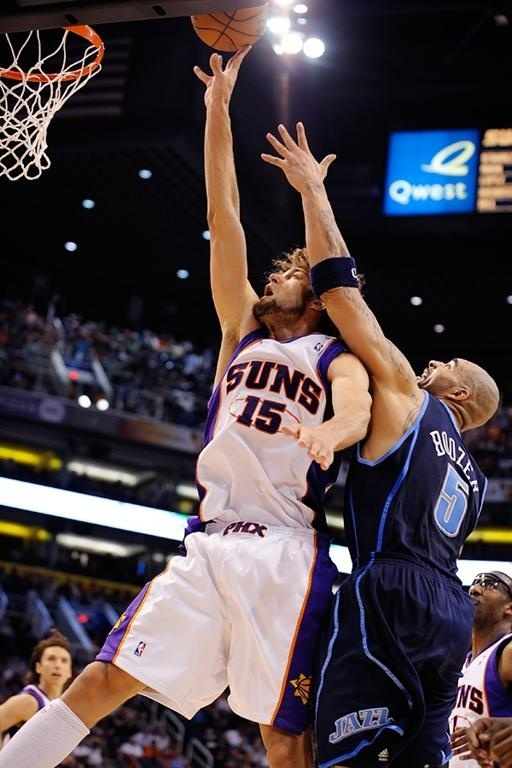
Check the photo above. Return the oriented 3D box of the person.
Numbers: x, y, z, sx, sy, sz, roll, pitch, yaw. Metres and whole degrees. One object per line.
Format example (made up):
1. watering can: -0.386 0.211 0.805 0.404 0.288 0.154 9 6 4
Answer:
1. person: 0.090 -0.061 2.084 1.066 2.002 1.359 4 9 18
